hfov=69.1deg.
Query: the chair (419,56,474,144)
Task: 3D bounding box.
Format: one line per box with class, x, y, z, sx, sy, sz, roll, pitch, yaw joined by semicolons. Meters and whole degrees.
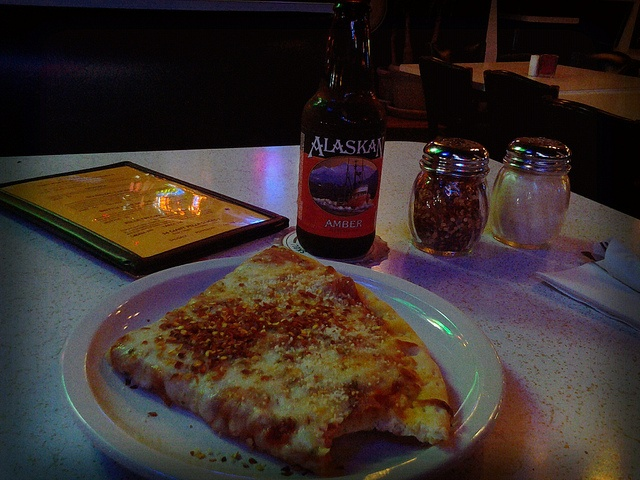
chair;0.839;-0.935;3.176;0.340;0.581;0.486;2;35;0
